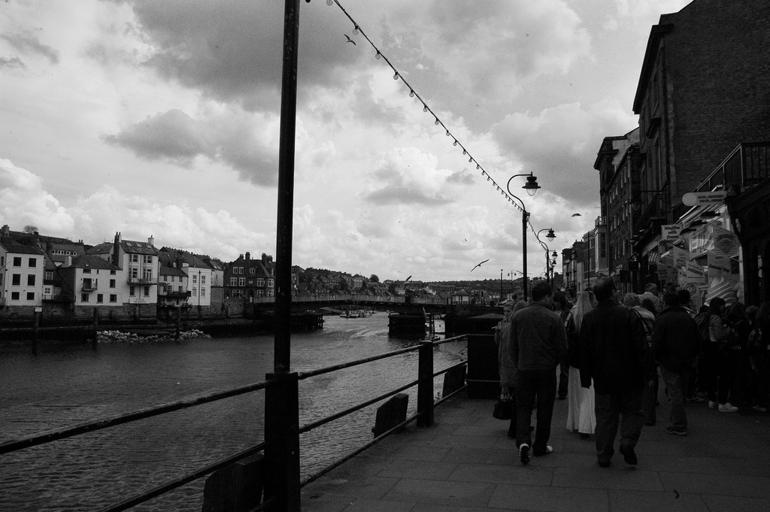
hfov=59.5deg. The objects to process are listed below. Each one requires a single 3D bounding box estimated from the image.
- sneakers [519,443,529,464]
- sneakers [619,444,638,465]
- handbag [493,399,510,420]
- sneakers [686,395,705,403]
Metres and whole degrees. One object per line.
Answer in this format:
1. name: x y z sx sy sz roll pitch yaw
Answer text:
1. sneakers: 2.297 3.249 11.076 0.122 0.368 0.156 0 -6 1
2. sneakers: 3.961 3.210 10.942 0.209 0.402 0.278 -17 -10 20
3. handbag: 2.155 2.807 12.318 0.331 0.333 0.318 -4 -4 32
4. sneakers: 6.948 3.195 15.080 0.400 0.177 0.149 -2 -1 -3
